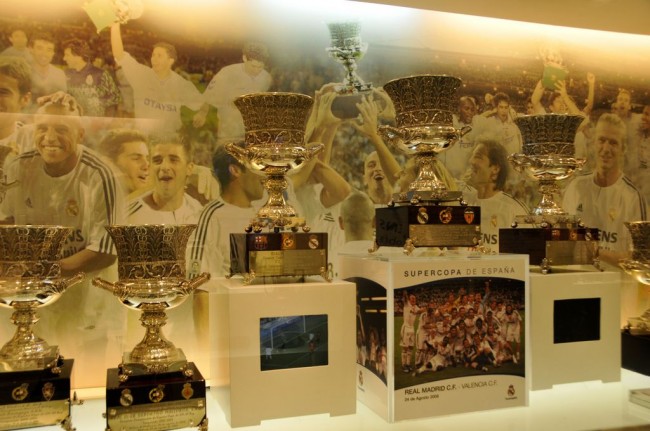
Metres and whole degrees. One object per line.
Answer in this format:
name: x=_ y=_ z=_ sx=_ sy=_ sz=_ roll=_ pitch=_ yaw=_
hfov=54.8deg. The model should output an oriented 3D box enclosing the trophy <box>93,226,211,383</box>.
trophy: x=-1.342 y=0.605 z=4.847 sx=0.677 sy=1.118 sz=0.657 roll=-2 pitch=4 yaw=-34
